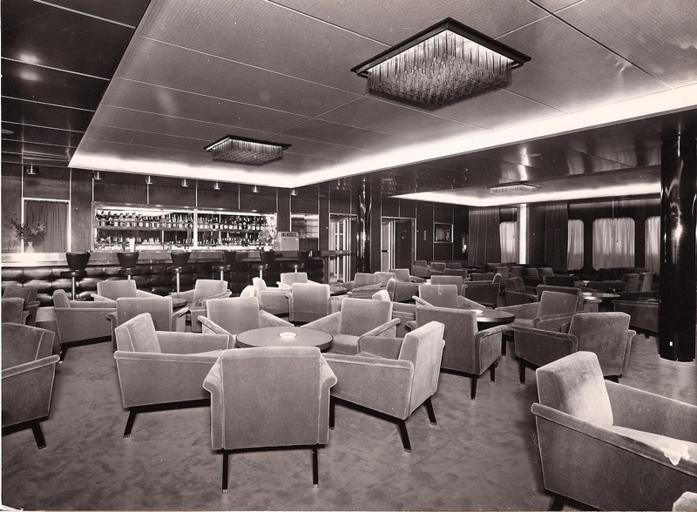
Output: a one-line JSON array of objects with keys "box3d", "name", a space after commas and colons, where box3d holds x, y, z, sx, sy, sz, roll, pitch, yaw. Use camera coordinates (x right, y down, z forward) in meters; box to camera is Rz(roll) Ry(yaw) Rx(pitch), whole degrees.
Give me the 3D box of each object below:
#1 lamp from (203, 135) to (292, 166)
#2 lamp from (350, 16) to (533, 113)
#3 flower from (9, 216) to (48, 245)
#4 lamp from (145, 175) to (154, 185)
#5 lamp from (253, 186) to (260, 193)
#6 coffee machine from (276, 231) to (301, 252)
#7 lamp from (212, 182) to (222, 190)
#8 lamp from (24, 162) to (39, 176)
[{"box3d": [-1.816, -1.945, 9.325, 1.483, 0.541, 0.987, -3, 15, -16], "name": "lamp"}, {"box3d": [1.055, -2.247, 5.985, 1.911, 0.813, 1.304, 6, 15, 17], "name": "lamp"}, {"box3d": [-7.066, -0.477, 11.200, 0.564, 0.735, 0.649, 5, -2, -5], "name": "flower"}, {"box3d": [-4.577, -1.735, 11.619, 0.153, 0.189, 0.160, 2, 1, 11], "name": "lamp"}, {"box3d": [-2.439, -1.747, 13.331, 0.133, 0.164, 0.138, 7, 7, 35], "name": "lamp"}, {"box3d": [-1.603, -0.340, 14.044, 0.717, 0.757, 0.508, 1, -4, -40], "name": "coffee machine"}, {"box3d": [-3.336, -1.779, 12.754, 0.132, 0.141, 0.248, 0, -4, -3], "name": "lamp"}, {"box3d": [-6.430, -1.753, 10.257, 0.253, 0.257, 0.253, -3, 7, -33], "name": "lamp"}]
